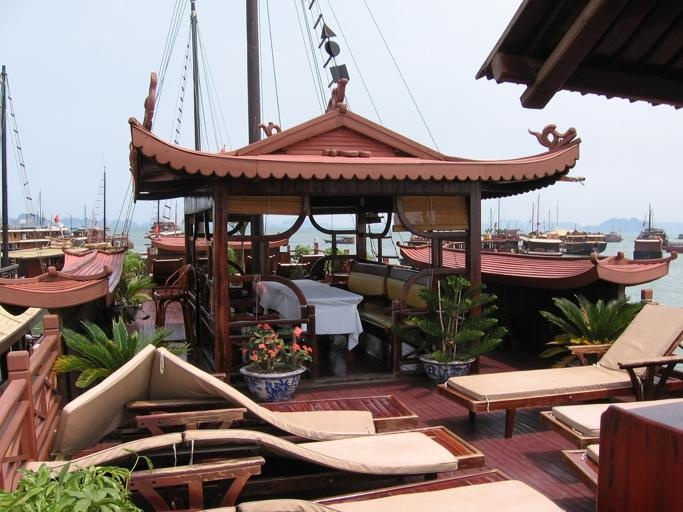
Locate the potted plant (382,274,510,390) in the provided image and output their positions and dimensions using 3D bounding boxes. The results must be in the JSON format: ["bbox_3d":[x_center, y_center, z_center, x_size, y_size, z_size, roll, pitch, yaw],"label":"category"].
[{"bbox_3d":[1.556,1.072,7.437,1.217,1.414,1.237,-6,8,-28],"label":"potted plant"}]

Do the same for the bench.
[{"bbox_3d":[0.482,0.948,9.010,1.045,1.449,2.930,-3,5,-22],"label":"bench"}]
